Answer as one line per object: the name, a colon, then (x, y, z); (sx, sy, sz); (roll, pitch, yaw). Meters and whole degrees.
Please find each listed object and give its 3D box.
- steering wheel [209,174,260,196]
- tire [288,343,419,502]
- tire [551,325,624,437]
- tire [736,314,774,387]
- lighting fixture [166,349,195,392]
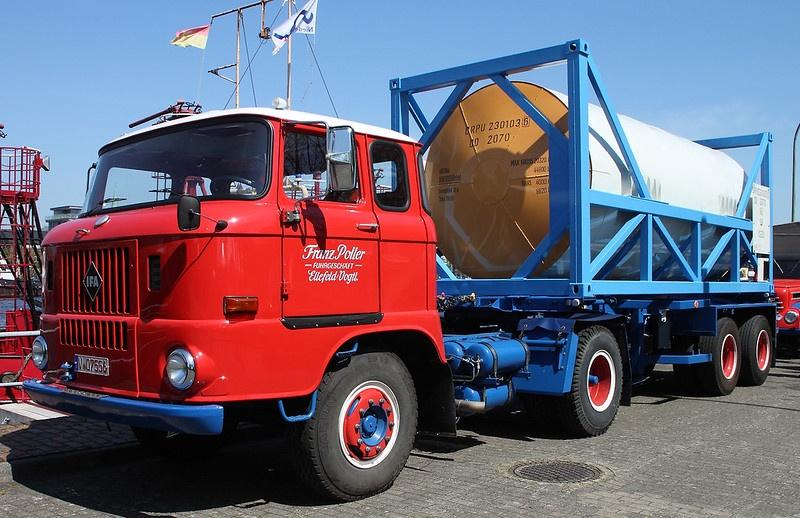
steering wheel: (-1.666, -0.719, 6.005); (0.415, 0.100, 0.234); (0, 3, 20)
tire: (-0.454, 1.732, 6.290); (1.357, 1.504, 0.292); (1, 0, -38)
tire: (2.575, 1.713, 8.475); (0.381, 1.348, 1.304); (0, -16, 44)
tire: (7.319, 1.897, 12.553); (0.409, 1.173, 1.170); (6, 24, 36)
lighting fixture: (-1.985, 1.000, 5.484); (0.376, 0.425, 0.154); (-1, -6, 27)
